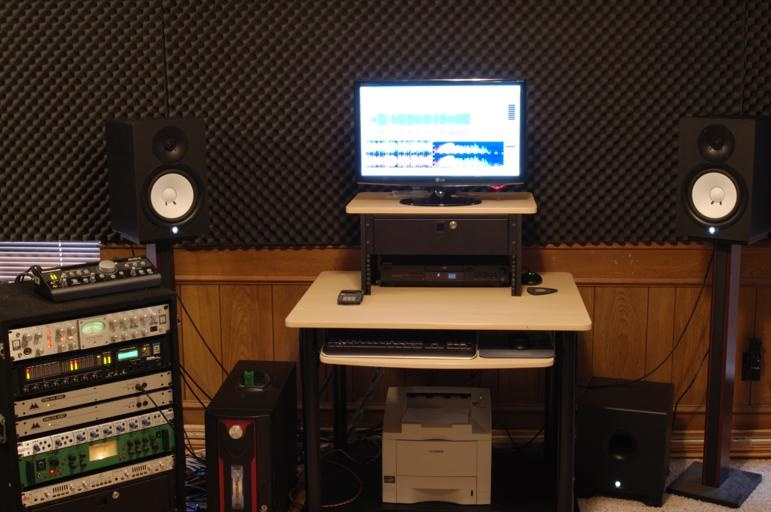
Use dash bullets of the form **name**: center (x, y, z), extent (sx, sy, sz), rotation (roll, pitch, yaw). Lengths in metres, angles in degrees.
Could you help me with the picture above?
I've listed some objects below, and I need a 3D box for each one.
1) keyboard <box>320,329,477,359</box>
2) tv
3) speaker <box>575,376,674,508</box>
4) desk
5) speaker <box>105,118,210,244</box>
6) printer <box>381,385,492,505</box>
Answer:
- **keyboard**: center (0.076, 0.424, 3.412), extent (0.733, 0.127, 0.184), rotation (0, -6, 3)
- **tv**: center (0.300, -0.620, 3.733), extent (0.688, 0.490, 0.226), rotation (0, 3, 4)
- **speaker**: center (1.238, 0.972, 3.839), extent (0.565, 0.565, 0.568), rotation (2, 9, 17)
- **desk**: center (0.304, 0.200, 4.072), extent (1.787, 2.019, 1.509), rotation (1, 11, 5)
- **speaker**: center (-1.109, -0.369, 3.485), extent (0.473, 0.613, 0.308), rotation (1, -6, -11)
- **printer**: center (0.294, 0.956, 3.857), extent (0.549, 0.554, 0.578), rotation (0, 6, 4)
